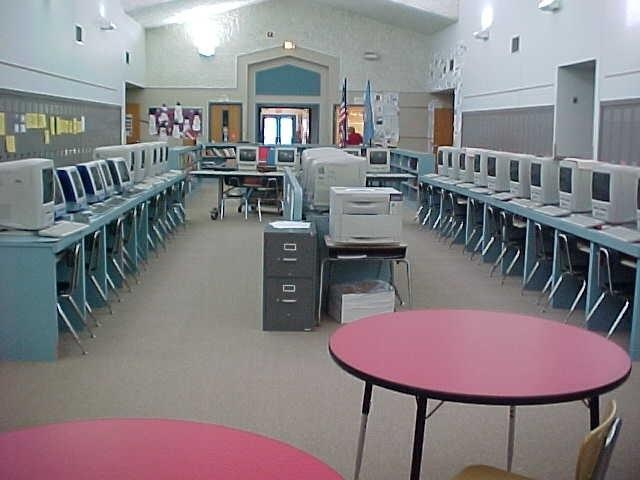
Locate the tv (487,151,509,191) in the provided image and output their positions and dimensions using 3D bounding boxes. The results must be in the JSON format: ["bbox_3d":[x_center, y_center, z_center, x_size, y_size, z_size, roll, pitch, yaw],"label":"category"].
[{"bbox_3d":[2.718,-1.045,7.465,0.314,0.568,0.411,-5,13,2],"label":"tv"}]

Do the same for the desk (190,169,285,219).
[{"bbox_3d":[-1.683,-1.191,11.407,1.591,0.992,3.187,-1,12,-7],"label":"desk"}]

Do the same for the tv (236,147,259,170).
[{"bbox_3d":[-1.547,-1.728,10.863,0.497,0.646,0.417,0,0,-9],"label":"tv"}]

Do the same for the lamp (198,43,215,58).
[{"bbox_3d":[-3.669,-6.195,16.130,0.565,0.397,0.157,-1,11,-10],"label":"lamp"}]

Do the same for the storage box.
[{"bbox_3d":[-0.280,0.601,4.908,0.490,0.996,0.958,0,-27,2],"label":"storage box"}]

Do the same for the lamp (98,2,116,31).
[{"bbox_3d":[-5.203,-5.506,12.082,0.334,0.678,0.585,-4,12,-23],"label":"lamp"}]

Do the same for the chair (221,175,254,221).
[{"bbox_3d":[-1.898,-0.937,11.037,0.595,1.135,0.620,-3,-10,-1],"label":"chair"}]

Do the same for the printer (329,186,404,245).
[{"bbox_3d":[0.446,-0.229,4.847,0.489,0.442,0.555,0,2,-1],"label":"printer"}]

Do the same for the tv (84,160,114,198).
[{"bbox_3d":[-2.662,-0.720,5.957,0.253,0.566,0.357,-4,27,-7],"label":"tv"}]

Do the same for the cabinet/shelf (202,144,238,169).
[{"bbox_3d":[-2.591,-2.199,13.052,1.105,0.883,0.613,0,1,-4],"label":"cabinet/shelf"}]

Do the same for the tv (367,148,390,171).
[{"bbox_3d":[1.288,-1.750,10.840,0.442,0.515,0.496,-1,3,-2],"label":"tv"}]

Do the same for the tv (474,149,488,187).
[{"bbox_3d":[2.652,-1.168,7.977,0.287,0.577,0.372,-1,12,3],"label":"tv"}]

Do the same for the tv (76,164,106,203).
[{"bbox_3d":[-2.722,-0.687,5.898,0.213,0.450,0.440,-2,12,-9],"label":"tv"}]

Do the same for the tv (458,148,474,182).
[{"bbox_3d":[2.590,-1.292,8.537,0.273,0.585,0.390,-2,12,-6],"label":"tv"}]

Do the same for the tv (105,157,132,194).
[{"bbox_3d":[-2.722,-0.857,6.653,0.220,0.428,0.458,-12,20,-3],"label":"tv"}]

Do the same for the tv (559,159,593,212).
[{"bbox_3d":[2.896,-0.625,5.563,0.319,0.593,0.443,-4,11,-10],"label":"tv"}]

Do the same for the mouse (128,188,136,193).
[{"bbox_3d":[-2.629,-0.692,6.930,0.110,0.050,0.116,6,8,31],"label":"mouse"}]

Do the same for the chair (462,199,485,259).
[{"bbox_3d":[2.484,-0.298,7.895,0.347,0.659,0.364,-1,6,38],"label":"chair"}]

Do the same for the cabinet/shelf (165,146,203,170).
[{"bbox_3d":[-3.246,-1.974,12.076,0.273,0.617,3.696,-1,12,-7],"label":"cabinet/shelf"}]

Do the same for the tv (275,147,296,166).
[{"bbox_3d":[-0.713,-1.807,10.778,0.545,0.549,0.319,0,1,2],"label":"tv"}]

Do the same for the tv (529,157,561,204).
[{"bbox_3d":[2.818,-0.768,6.220,0.353,0.571,0.398,-11,13,-28],"label":"tv"}]
